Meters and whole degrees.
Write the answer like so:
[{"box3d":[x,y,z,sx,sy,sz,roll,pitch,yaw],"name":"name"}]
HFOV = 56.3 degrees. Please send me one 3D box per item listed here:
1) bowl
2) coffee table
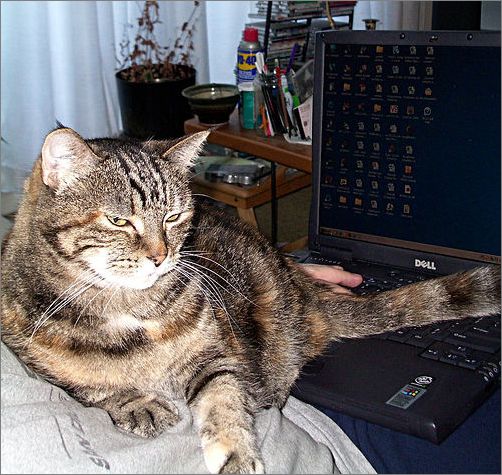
[{"box3d":[-0.128,-0.487,1.779,0.230,0.097,0.227,2,21,-1],"name":"bowl"},{"box3d":[-0.011,-0.165,1.992,0.489,0.279,0.369,28,41,32],"name":"coffee table"}]
